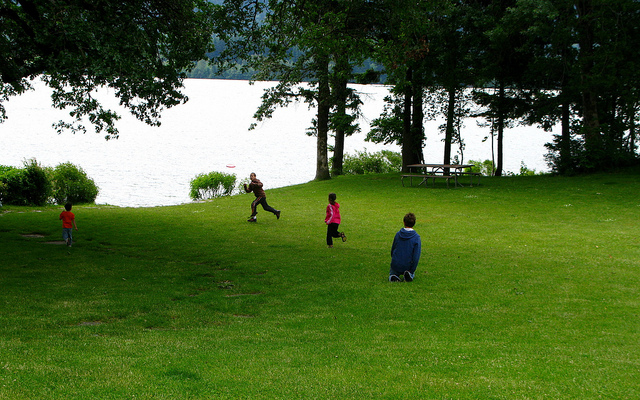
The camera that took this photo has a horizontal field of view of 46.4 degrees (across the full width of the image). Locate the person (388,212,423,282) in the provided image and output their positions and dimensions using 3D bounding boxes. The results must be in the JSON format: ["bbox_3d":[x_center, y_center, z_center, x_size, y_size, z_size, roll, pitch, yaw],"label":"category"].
[{"bbox_3d":[3.545,1.946,31.182,1.257,2.880,1.268,-1,4,8],"label":"person"}]

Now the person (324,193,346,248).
[{"bbox_3d":[0.709,0.918,34.429,0.843,2.478,1.394,-1,4,5],"label":"person"}]

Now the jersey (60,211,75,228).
[{"bbox_3d":[-11.627,0.923,34.302,0.918,0.939,0.428,-1,-7,-23],"label":"jersey"}]

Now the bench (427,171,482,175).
[{"bbox_3d":[8.493,-1.692,47.160,2.733,0.235,3.275,0,4,22],"label":"bench"}]

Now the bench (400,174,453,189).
[{"bbox_3d":[6.692,-1.212,47.124,3.167,0.894,4.705,-1,3,4],"label":"bench"}]
